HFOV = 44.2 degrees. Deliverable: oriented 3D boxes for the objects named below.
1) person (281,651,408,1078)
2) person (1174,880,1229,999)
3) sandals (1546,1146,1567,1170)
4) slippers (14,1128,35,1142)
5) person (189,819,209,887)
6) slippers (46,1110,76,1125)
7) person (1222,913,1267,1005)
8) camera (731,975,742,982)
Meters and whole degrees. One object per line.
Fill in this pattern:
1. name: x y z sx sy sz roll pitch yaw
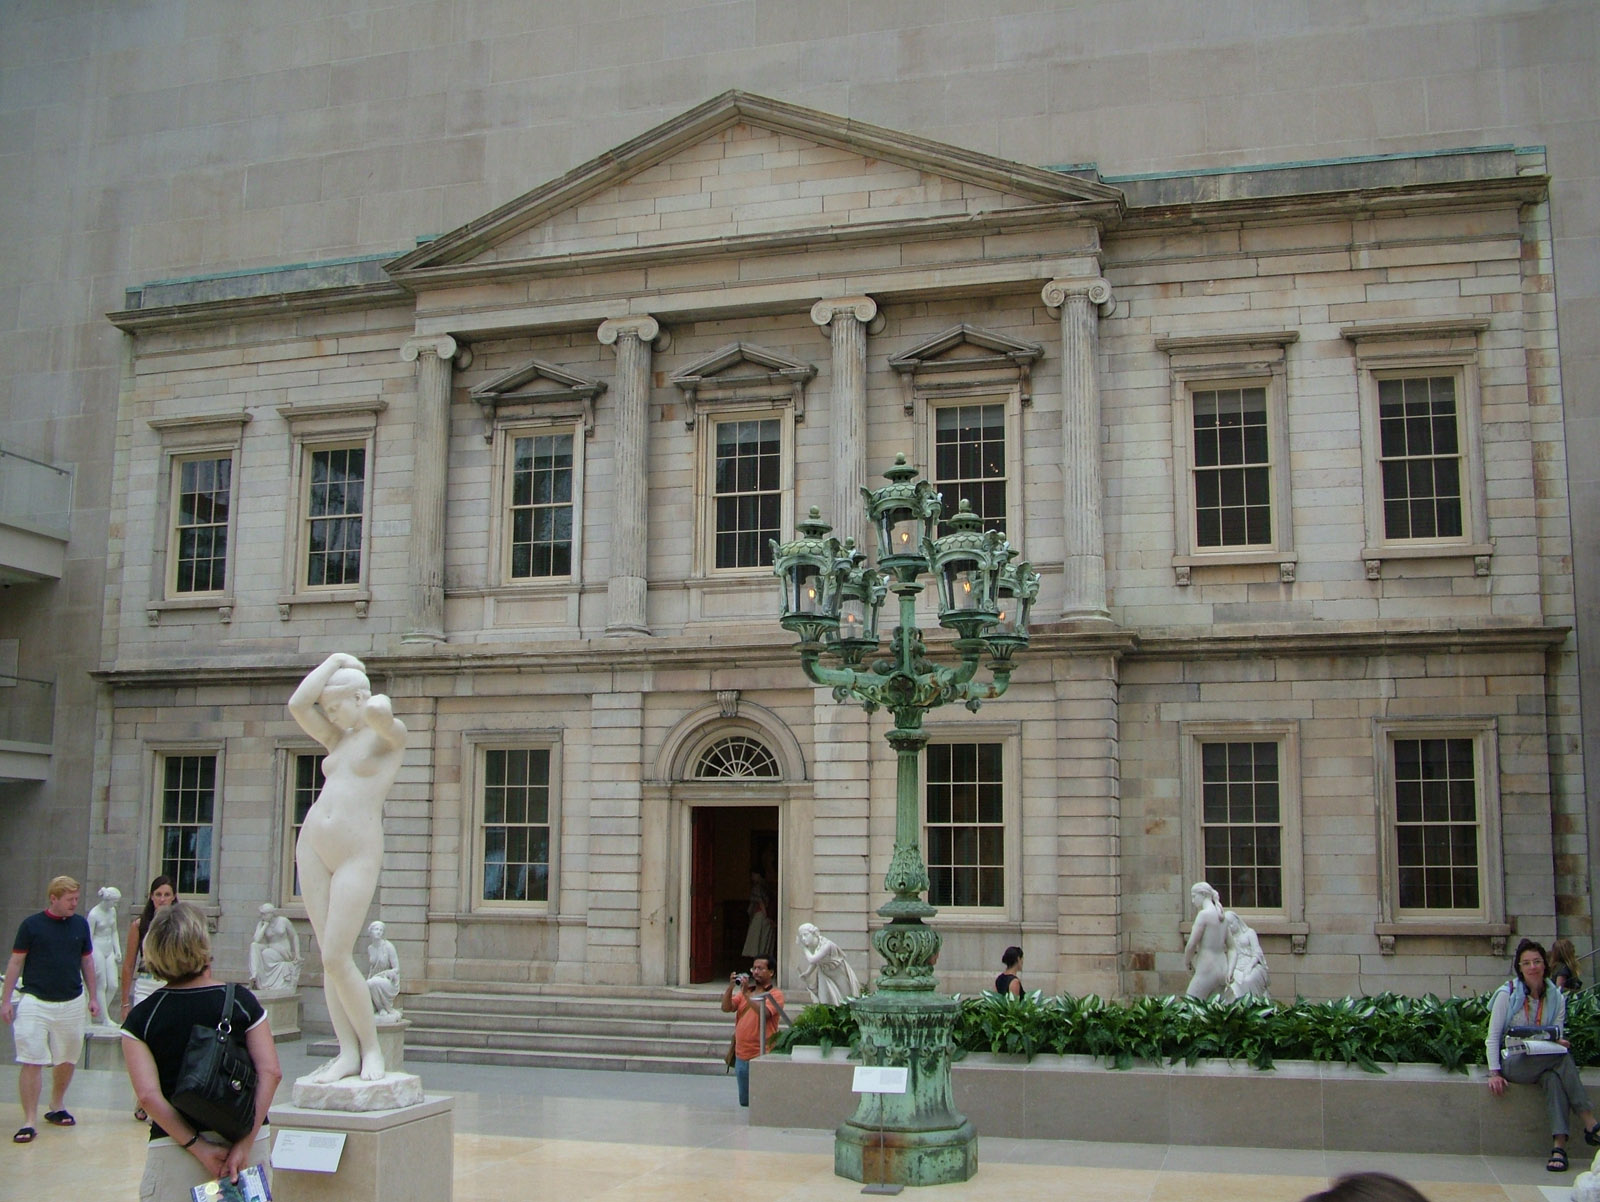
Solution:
1. person: -4.034 2.294 17.411 0.938 3.783 0.745 2 -11 -11
2. person: 4.654 3.893 22.728 0.492 1.306 0.979 -2 -11 11
3. sandals: 7.601 5.618 19.893 0.206 0.210 0.305 -4 -11 20
4. slippers: -8.059 5.536 20.513 0.242 0.150 0.313 4 -11 -22
5. person: -9.300 3.979 30.755 0.457 1.020 0.155 -10 -15 42
6. slippers: -7.950 5.557 21.205 0.349 0.110 0.129 -7 -11 44
7. person: 5.057 4.035 22.529 0.428 0.945 1.433 -2 -11 12
8. camera: -0.744 4.395 22.941 0.137 0.053 0.183 1 -3 3
